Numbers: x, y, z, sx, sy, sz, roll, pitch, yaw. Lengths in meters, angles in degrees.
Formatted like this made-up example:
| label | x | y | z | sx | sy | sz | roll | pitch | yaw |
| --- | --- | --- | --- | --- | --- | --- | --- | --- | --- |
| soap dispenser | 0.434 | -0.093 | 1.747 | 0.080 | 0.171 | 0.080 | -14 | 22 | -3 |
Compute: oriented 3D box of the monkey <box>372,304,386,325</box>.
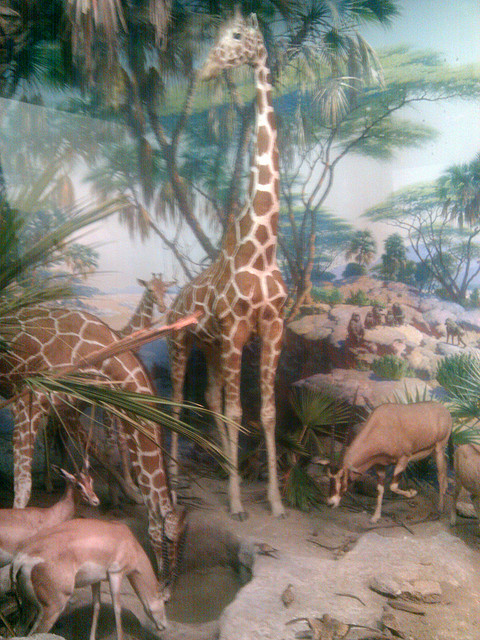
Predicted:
| label | x | y | z | sx | sy | sz | roll | pitch | yaw |
| --- | --- | --- | --- | --- | --- | --- | --- | --- | --- |
| monkey | 0.777 | -0.028 | 3.793 | 0.035 | 0.105 | 0.074 | -9 | 21 | -34 |

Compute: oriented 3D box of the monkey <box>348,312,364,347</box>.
| label | x | y | z | sx | sy | sz | roll | pitch | yaw |
| --- | --- | --- | --- | --- | --- | --- | --- | --- | --- |
| monkey | 0.653 | 0.058 | 3.804 | 0.073 | 0.166 | 0.111 | -5 | 18 | -21 |

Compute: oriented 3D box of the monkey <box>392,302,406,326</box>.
| label | x | y | z | sx | sy | sz | roll | pitch | yaw |
| --- | --- | --- | --- | --- | --- | --- | --- | --- | --- |
| monkey | 0.885 | -0.033 | 3.767 | 0.073 | 0.111 | 0.032 | 10 | 18 | 24 |
